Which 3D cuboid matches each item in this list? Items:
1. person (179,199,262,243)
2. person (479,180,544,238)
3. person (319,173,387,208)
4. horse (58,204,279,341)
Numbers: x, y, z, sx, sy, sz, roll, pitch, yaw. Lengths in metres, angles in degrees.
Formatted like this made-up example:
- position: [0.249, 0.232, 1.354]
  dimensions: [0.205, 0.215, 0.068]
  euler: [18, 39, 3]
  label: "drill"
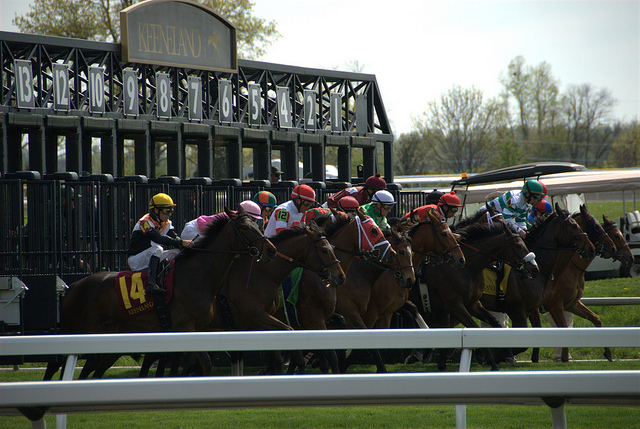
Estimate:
- position: [-1.850, 0.158, 19.676]
  dimensions: [0.897, 0.511, 0.247]
  euler: [-19, 45, 6]
  label: "person"
- position: [3.638, -0.144, 21.692]
  dimensions: [1.815, 1.149, 0.615]
  euler: [3, 8, 35]
  label: "person"
- position: [0.672, -0.299, 21.118]
  dimensions: [1.332, 0.640, 0.394]
  euler: [-7, 4, 24]
  label: "person"
- position: [-3.048, 1.671, 19.162]
  dimensions: [4.786, 3.097, 1.068]
  euler: [-4, -2, 11]
  label: "horse"
